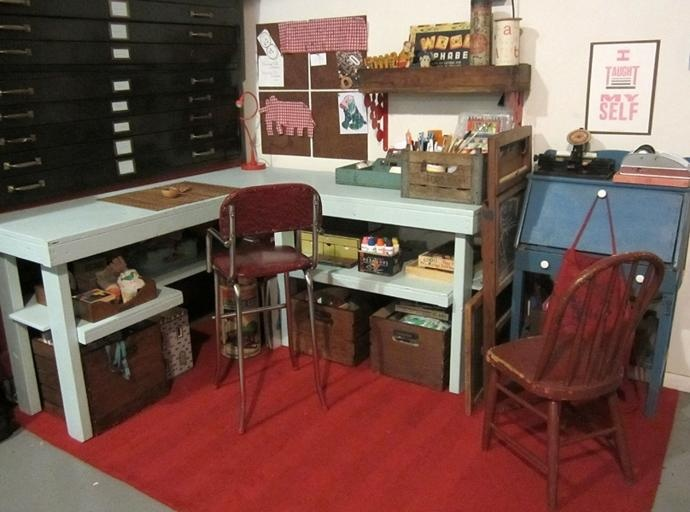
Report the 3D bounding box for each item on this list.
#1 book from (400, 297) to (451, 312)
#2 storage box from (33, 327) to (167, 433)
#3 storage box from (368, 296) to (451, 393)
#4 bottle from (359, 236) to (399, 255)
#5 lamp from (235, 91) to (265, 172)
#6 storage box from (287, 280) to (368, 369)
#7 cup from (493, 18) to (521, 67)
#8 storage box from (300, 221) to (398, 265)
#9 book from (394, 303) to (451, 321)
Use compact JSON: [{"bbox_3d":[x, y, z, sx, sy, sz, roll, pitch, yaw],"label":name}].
[{"bbox_3d":[0.495,0.301,3.157,0.108,0.032,0.157,-8,15,-42],"label":"book"},{"bbox_3d":[-1.345,0.608,2.979,0.576,0.436,0.593,8,18,34],"label":"storage box"},{"bbox_3d":[0.413,0.544,3.097,0.476,0.361,0.489,7,15,29],"label":"storage box"},{"bbox_3d":[0.215,-0.061,3.136,0.261,0.147,0.145,2,-13,14],"label":"bottle"},{"bbox_3d":[-0.745,-0.994,4.023,0.185,0.573,0.390,-5,20,-11],"label":"lamp"},{"bbox_3d":[-0.083,0.436,3.345,0.479,0.362,0.467,7,15,29],"label":"storage box"},{"bbox_3d":[0.948,-1.251,2.988,0.142,0.256,0.209,6,21,19],"label":"cup"},{"bbox_3d":[0.032,-0.081,3.441,0.372,0.092,0.351,9,18,27],"label":"storage box"},{"bbox_3d":[0.478,0.334,3.127,0.183,0.037,0.130,11,18,41],"label":"book"}]
